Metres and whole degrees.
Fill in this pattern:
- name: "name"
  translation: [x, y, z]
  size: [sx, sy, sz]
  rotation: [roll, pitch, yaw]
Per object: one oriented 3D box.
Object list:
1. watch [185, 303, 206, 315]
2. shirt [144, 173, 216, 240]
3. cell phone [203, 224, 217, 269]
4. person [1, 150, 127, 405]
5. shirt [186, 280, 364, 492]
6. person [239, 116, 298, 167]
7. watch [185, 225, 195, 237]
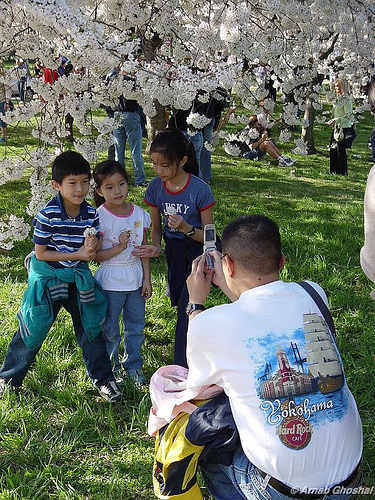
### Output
- name: "watch"
  translation: [0.041, 0.279, 2.200]
  size: [0.079, 0.047, 0.083]
  rotation: [3, -7, -1]
- name: "shirt"
  translation: [-0.034, -0.322, 3.252]
  size: [0.559, 0.481, 0.222]
  rotation: [1, 27, 24]
- name: "cell phone"
  translation: [0.126, 0.005, 2.501]
  size: [0.080, 0.307, 0.049]
  rotation: [-3, -12, 8]
- name: "person"
  translation: [-0.777, 0.202, 2.833]
  size: [0.754, 1.593, 0.284]
  rotation: [-2, 12, -9]
- name: "shirt"
  translation: [0.357, 0.514, 1.818]
  size: [0.616, 0.686, 0.243]
  rotation: [-19, -16, -1]
- name: "person"
  translation: [1.808, -2.410, 10.010]
  size: [0.682, 1.085, 1.500]
  rotation: [-25, 34, -29]
- name: "watch"
  translation: [0.023, -0.129, 3.089]
  size: [0.028, 0.066, 0.058]
  rotation: [24, -37, -13]
